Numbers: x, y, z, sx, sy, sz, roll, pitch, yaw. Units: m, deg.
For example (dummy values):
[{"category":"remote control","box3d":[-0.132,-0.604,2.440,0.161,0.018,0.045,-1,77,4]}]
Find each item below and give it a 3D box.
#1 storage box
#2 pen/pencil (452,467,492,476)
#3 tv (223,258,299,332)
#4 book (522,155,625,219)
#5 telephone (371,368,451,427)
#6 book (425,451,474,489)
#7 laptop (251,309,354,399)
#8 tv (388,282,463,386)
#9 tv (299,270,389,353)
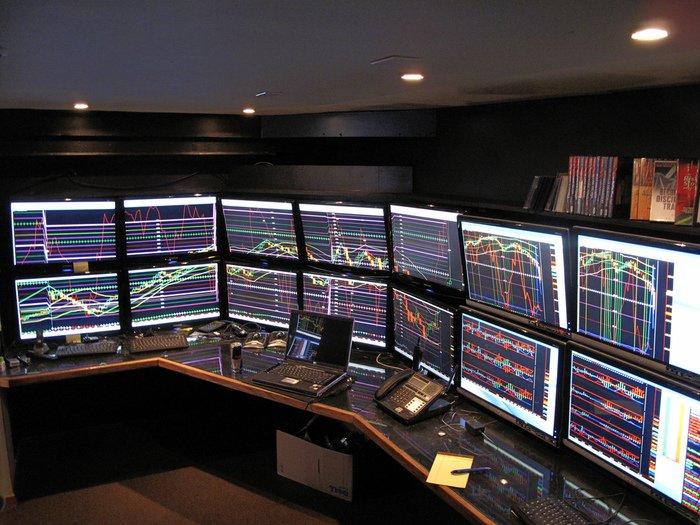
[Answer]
[{"category":"storage box","box3d":[-0.170,1.282,3.692,0.676,0.319,0.496,5,2,42]},{"category":"pen/pencil","box3d":[0.589,0.997,2.548,0.158,0.016,0.017,-3,2,-13]},{"category":"tv","box3d":[-0.680,0.251,4.193,0.600,0.388,0.024,7,13,27]},{"category":"book","box3d":[1.116,-0.377,2.673,0.091,0.279,0.455,-12,15,-38]},{"category":"telephone","box3d":[0.362,0.772,3.123,0.339,0.135,0.410,-15,14,-28]},{"category":"book","box3d":[0.488,1.001,2.570,0.193,0.048,0.240,3,12,21]},{"category":"laptop","box3d":[-0.274,0.602,3.471,0.619,0.423,0.526,4,9,33]},{"category":"tv","box3d":[0.489,0.439,3.300,0.062,0.413,0.592,-5,12,-26]},{"category":"tv","box3d":[-0.011,0.349,3.697,0.597,0.391,0.063,7,11,37]}]
